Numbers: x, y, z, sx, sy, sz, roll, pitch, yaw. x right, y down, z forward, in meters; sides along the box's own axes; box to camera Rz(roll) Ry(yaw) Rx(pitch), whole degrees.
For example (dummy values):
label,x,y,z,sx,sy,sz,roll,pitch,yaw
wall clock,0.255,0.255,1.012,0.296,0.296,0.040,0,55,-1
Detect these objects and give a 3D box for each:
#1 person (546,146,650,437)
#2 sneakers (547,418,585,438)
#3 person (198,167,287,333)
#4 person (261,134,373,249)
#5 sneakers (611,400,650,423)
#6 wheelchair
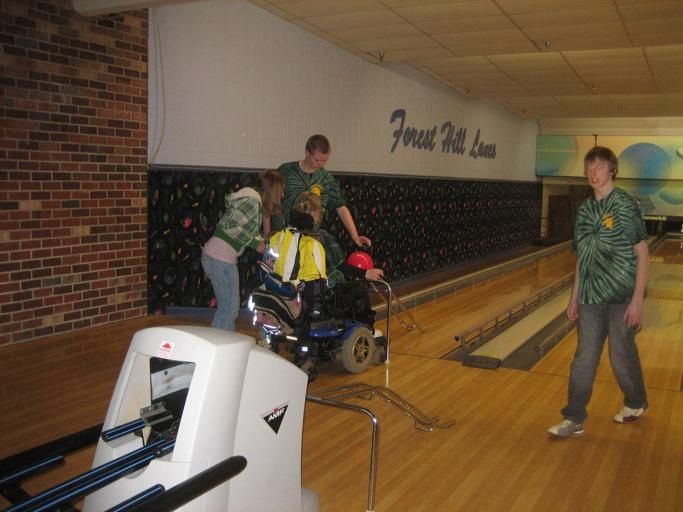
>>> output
label,x,y,z,sx,sy,sz,roll,pitch,yaw
person,1.691,0.256,2.931,0.572,1.837,0.370,4,9,13
sneakers,1.453,1.108,3.029,0.238,0.120,0.101,-1,4,-11
person,-0.769,-0.055,3.398,0.503,1.167,0.703,4,9,8
person,-0.286,-0.755,5.101,1.414,1.742,0.599,-10,19,-33
sneakers,2.007,1.081,3.196,0.268,0.121,0.108,-13,11,-9
wheelchair,-0.158,0.412,3.968,1.201,1.129,0.754,-4,2,-33
